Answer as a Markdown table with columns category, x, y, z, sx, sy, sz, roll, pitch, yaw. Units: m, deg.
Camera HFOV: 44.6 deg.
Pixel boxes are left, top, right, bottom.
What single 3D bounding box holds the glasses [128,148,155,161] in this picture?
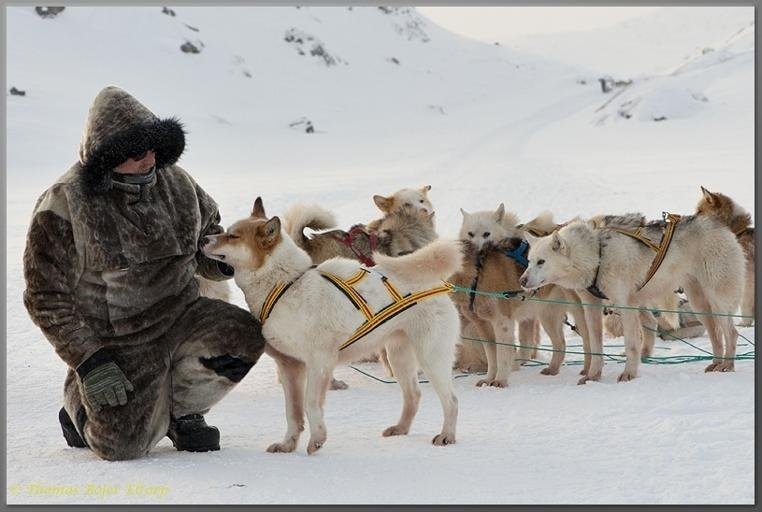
| category | x | y | z | sx | sy | sz | roll | pitch | yaw |
| --- | --- | --- | --- | --- | --- | --- | --- | --- | --- |
| glasses | -1.964 | -0.864 | 7.767 | 0.201 | 0.115 | 0.069 | -10 | 16 | -38 |

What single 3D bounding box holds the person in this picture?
| category | x | y | z | sx | sy | sz | roll | pitch | yaw |
| --- | --- | --- | --- | --- | --- | --- | --- | --- | --- |
| person | -2.055 | 0.144 | 7.784 | 1.739 | 3.071 | 0.933 | -5 | 14 | -18 |

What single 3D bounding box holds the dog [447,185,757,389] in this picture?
| category | x | y | z | sx | sy | sz | roll | pitch | yaw |
| --- | --- | --- | --- | --- | --- | --- | --- | --- | --- |
| dog | 2.315 | 0.438 | 9.994 | 2.990 | 1.815 | 1.213 | 1 | 13 | 9 |

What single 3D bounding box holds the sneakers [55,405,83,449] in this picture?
| category | x | y | z | sx | sy | sz | roll | pitch | yaw |
| --- | --- | --- | --- | --- | --- | --- | --- | --- | --- |
| sneakers | -2.666 | 1.489 | 8.022 | 0.179 | 0.362 | 0.219 | -17 | -2 | 40 |

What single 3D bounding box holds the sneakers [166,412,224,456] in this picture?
| category | x | y | z | sx | sy | sz | roll | pitch | yaw |
| --- | --- | --- | --- | --- | --- | --- | --- | --- | --- |
| sneakers | -1.567 | 1.534 | 7.881 | 0.263 | 0.252 | 0.474 | 1 | 1 | -28 |
